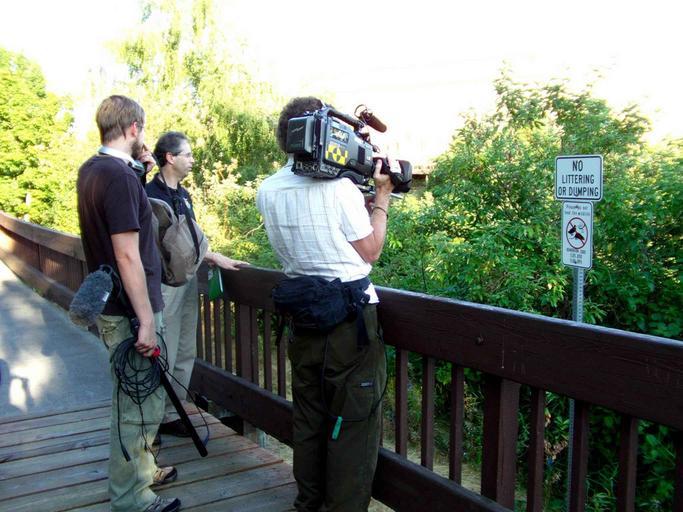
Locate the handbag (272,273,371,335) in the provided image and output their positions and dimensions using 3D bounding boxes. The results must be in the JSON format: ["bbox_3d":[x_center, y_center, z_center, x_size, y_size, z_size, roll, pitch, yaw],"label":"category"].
[{"bbox_3d":[-0.088,0.191,2.349,0.335,0.166,0.269,-10,16,-30],"label":"handbag"}]

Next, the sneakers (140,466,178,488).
[{"bbox_3d":[-1.071,1.276,3.033,0.077,0.104,0.218,11,11,32],"label":"sneakers"}]

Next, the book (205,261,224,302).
[{"bbox_3d":[-0.902,0.166,3.631,0.113,0.375,0.272,-3,5,-23],"label":"book"}]

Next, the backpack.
[{"bbox_3d":[-1.037,-0.155,3.611,0.436,0.741,0.544,-3,14,-7],"label":"backpack"}]

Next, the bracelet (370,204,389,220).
[{"bbox_3d":[0.179,-0.230,2.511,0.031,0.086,0.083,-46,43,-19],"label":"bracelet"}]
